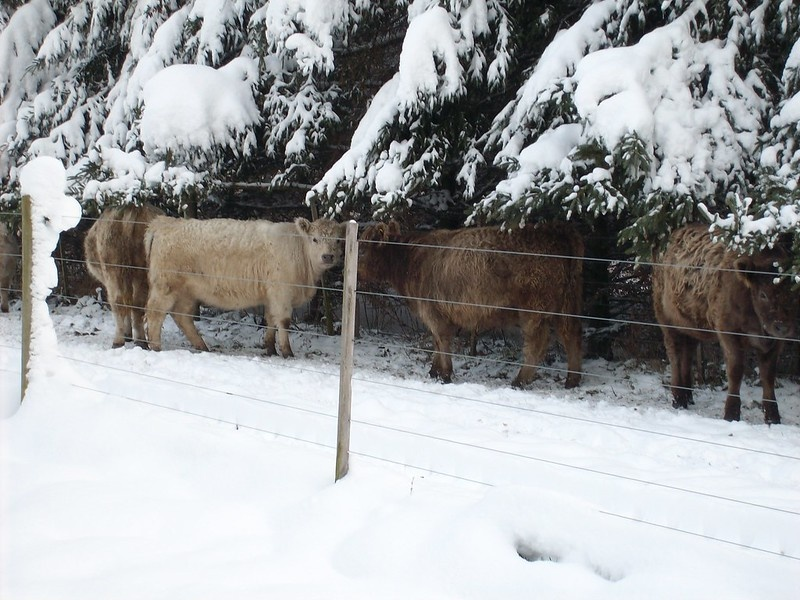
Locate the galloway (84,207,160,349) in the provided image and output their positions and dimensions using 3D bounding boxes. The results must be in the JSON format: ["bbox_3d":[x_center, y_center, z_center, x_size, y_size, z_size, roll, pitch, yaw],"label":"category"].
[{"bbox_3d":[-4.580,-0.404,13.569,1.147,2.352,2.770,-3,-1,-33],"label":"galloway"}]
